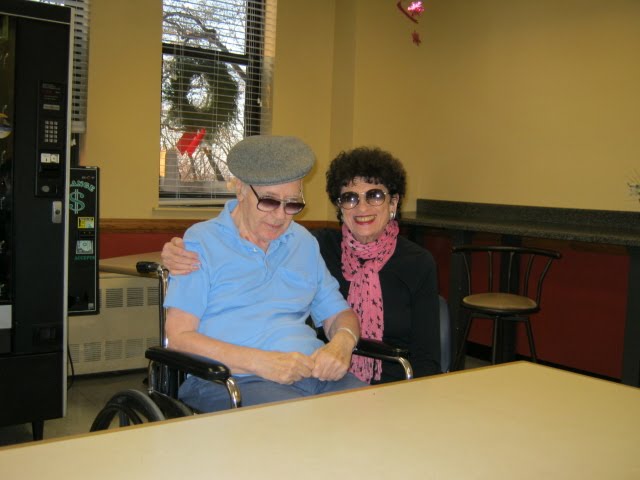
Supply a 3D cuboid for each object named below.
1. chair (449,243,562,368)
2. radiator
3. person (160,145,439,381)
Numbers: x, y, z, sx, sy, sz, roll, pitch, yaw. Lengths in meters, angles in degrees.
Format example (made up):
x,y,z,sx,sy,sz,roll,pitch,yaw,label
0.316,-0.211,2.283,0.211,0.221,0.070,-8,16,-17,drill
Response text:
x,y,z,sx,sy,sz,roll,pitch,yaw,label
1.038,0.419,3.166,0.580,0.753,0.517,6,10,43,chair
-1.227,0.568,3.418,0.604,0.590,0.331,0,-21,-19,radiator
0.028,0.121,2.658,0.738,1.375,1.128,-2,-4,26,person
